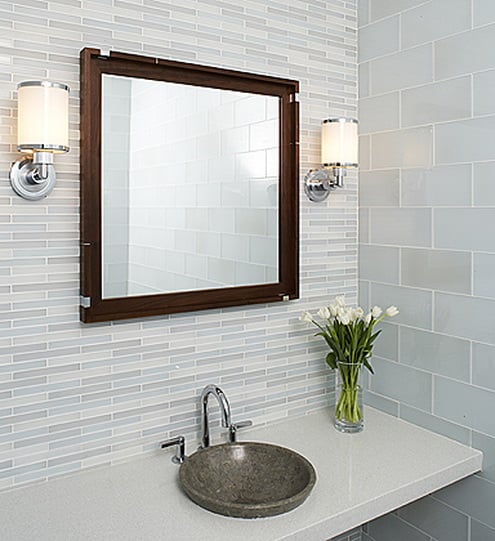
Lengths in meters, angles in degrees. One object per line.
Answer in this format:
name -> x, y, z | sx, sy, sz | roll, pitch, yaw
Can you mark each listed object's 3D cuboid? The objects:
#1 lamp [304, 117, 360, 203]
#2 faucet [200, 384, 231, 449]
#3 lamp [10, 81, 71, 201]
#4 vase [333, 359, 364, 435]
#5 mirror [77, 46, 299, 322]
lamp -> 0.337, -0.410, 1.892 | 0.200, 0.287, 0.167 | 6, 12, 39
faucet -> -0.105, 0.471, 1.628 | 0.102, 0.233, 0.271 | 1, 7, -3
lamp -> -0.531, -0.335, 1.320 | 0.166, 0.305, 0.170 | -3, 8, -33
vase -> 0.367, 0.460, 1.848 | 0.122, 0.255, 0.094 | 6, 8, 32
mirror -> -0.139, -0.268, 1.694 | 0.905, 0.799, 0.050 | -7, 11, -43
